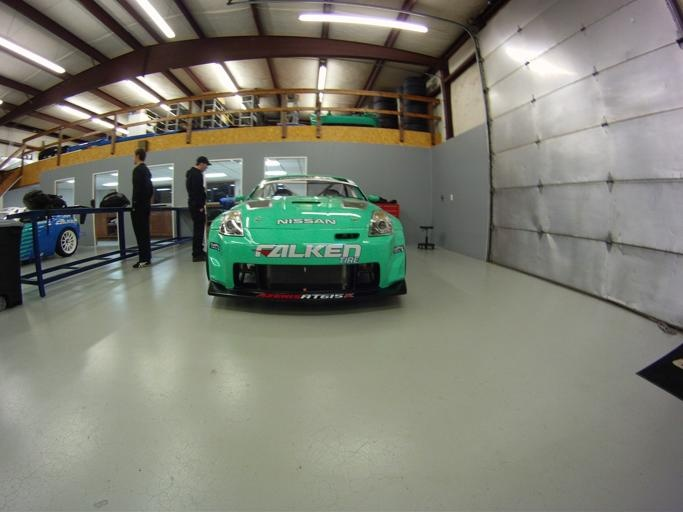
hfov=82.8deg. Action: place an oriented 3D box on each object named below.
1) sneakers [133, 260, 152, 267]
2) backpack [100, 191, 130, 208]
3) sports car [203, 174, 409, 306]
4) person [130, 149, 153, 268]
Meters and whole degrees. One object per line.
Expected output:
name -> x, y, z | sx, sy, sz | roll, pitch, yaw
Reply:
sneakers -> -2.530, 0.112, 4.955 | 0.213, 0.072, 0.083 | -11, 12, -18
backpack -> -3.231, -0.802, 5.533 | 0.343, 0.187, 0.298 | -7, 9, -33
sports car -> -0.320, -0.302, 3.671 | 1.057, 0.601, 1.770 | 1, 13, -1
person -> -2.509, -0.589, 4.880 | 0.302, 1.467, 0.342 | -6, 9, -27
